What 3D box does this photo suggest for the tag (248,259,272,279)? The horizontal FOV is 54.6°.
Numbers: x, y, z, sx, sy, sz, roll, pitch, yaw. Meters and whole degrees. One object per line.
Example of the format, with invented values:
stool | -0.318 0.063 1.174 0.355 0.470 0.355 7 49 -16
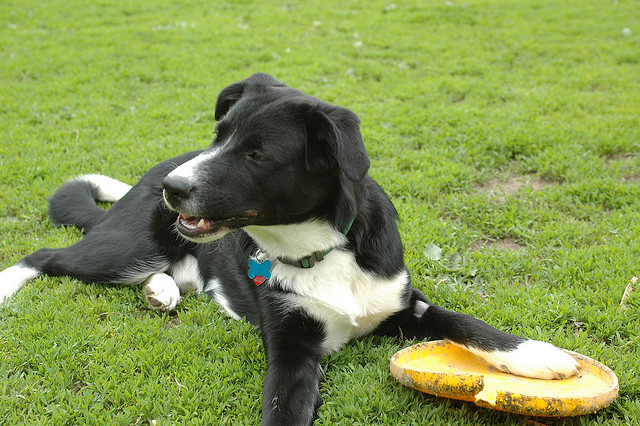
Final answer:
tag | -0.527 0.494 5.487 0.169 0.017 0.138 10 88 23
